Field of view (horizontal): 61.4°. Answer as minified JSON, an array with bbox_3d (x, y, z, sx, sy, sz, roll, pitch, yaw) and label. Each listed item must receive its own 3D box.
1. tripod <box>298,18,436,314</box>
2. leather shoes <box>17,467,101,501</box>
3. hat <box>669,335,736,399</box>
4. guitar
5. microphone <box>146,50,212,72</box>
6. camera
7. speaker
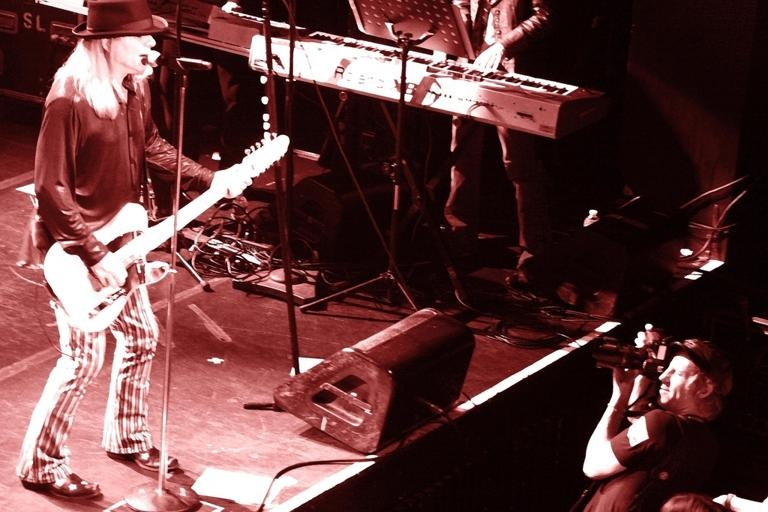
[{"bbox_3d":[0.131,-0.519,4.211,1.206,1.757,1.171,3,1,-1],"label":"tripod"},{"bbox_3d":[-1.407,0.994,2.814,0.346,0.122,0.121,1,7,-4],"label":"leather shoes"},{"bbox_3d":[1.442,0.542,2.908,0.293,0.159,0.226,55,19,5],"label":"hat"},{"bbox_3d":[-1.060,-0.062,3.268,1.591,0.497,0.190,-34,5,-8],"label":"guitar"},{"bbox_3d":[-0.800,-0.738,2.510,0.228,0.078,0.343,-2,23,-23],"label":"microphone"},{"bbox_3d":[1.095,0.402,2.853,0.301,0.199,0.157,14,31,11],"label":"camera"},{"bbox_3d":[-0.034,0.615,3.532,0.651,0.536,0.874,20,20,24],"label":"speaker"}]
